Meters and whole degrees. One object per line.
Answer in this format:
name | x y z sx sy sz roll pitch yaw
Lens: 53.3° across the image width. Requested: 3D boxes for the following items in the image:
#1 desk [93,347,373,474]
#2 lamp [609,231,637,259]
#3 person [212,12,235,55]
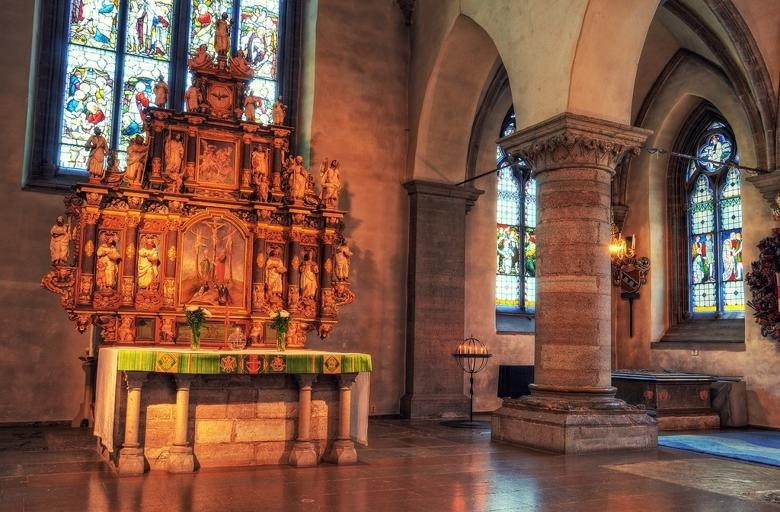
desk | -2.438 2.306 12.046 4.008 1.828 0.940 0 4 -13
lamp | 5.624 -0.265 18.566 0.708 0.881 0.691 -1 -3 7
person | -3.415 -4.445 15.670 0.276 1.026 1.331 0 4 -11
